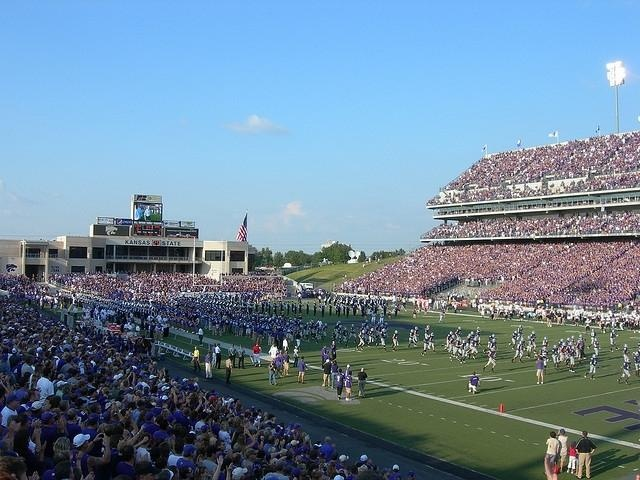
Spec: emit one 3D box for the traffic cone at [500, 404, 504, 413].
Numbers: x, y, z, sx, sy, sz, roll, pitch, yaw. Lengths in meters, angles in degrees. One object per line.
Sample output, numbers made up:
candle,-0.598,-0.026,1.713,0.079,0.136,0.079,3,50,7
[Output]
traffic cone,7.281,6.710,29.814,0.240,0.311,0.234,-4,5,-9
